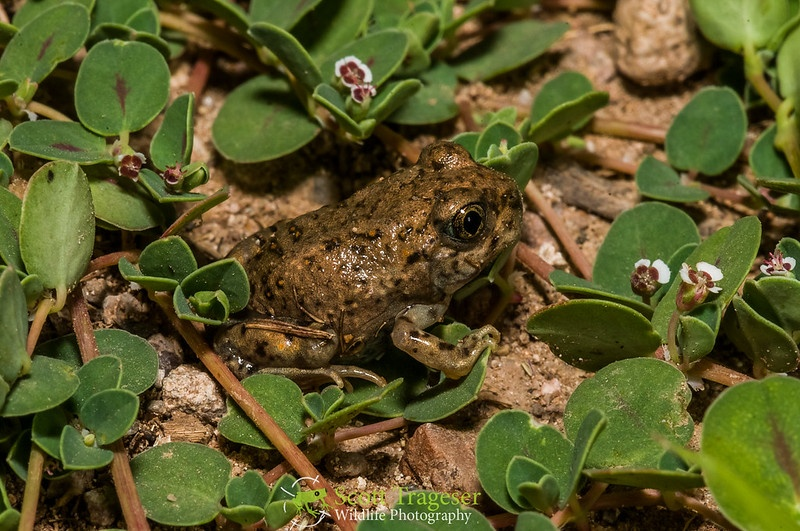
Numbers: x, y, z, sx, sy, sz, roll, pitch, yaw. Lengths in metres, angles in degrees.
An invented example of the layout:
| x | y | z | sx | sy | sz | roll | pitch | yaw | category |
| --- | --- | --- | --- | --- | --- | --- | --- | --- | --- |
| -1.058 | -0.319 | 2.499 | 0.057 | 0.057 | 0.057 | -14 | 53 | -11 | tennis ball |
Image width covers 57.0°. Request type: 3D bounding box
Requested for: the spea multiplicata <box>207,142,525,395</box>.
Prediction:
| x | y | z | sx | sy | sz | roll | pitch | yaw | category |
| --- | --- | --- | --- | --- | --- | --- | --- | --- | --- |
| -0.149 | 0.036 | 3.510 | 1.593 | 0.481 | 0.892 | -25 | 83 | -3 | spea multiplicata |

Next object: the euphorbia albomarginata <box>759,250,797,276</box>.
| x | y | z | sx | sy | sz | roll | pitch | yaw | category |
| --- | --- | --- | --- | --- | --- | --- | --- | --- | --- |
| 1.659 | -0.013 | 3.248 | 0.115 | 0.055 | 0.120 | -11 | 39 | 12 | euphorbia albomarginata |

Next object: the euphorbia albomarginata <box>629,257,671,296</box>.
| x | y | z | sx | sy | sz | roll | pitch | yaw | category |
| --- | --- | --- | --- | --- | --- | --- | --- | --- | --- |
| 1.112 | 0.054 | 3.330 | 0.147 | 0.156 | 0.156 | 19 | 82 | 3 | euphorbia albomarginata |

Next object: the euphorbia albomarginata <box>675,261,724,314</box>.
| x | y | z | sx | sy | sz | roll | pitch | yaw | category |
| --- | --- | --- | --- | --- | --- | --- | --- | --- | --- |
| 1.265 | 0.071 | 3.209 | 0.170 | 0.195 | 0.246 | 3 | 100 | 6 | euphorbia albomarginata |

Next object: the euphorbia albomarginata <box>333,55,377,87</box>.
| x | y | z | sx | sy | sz | roll | pitch | yaw | category |
| --- | --- | --- | --- | --- | --- | --- | --- | --- | --- |
| -0.226 | -0.911 | 3.480 | 0.163 | 0.062 | 0.132 | -5 | 82 | -1 | euphorbia albomarginata |
